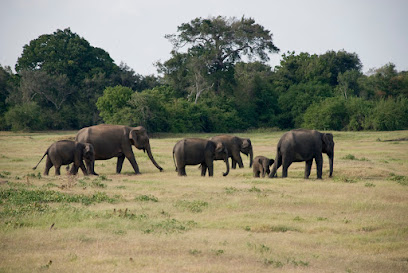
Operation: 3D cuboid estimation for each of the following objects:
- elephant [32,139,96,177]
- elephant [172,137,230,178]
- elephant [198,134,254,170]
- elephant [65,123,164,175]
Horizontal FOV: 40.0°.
[{"bbox_3d":[-8.797,1.537,37.063,4.382,2.457,1.295,0,12,-30],"label":"elephant"},{"bbox_3d":[-0.349,1.327,37.220,4.060,3.050,1.975,0,0,-6],"label":"elephant"},{"bbox_3d":[0.780,1.011,41.341,5.518,3.677,1.677,-2,2,-8],"label":"elephant"},{"bbox_3d":[-6.310,0.721,39.303,6.576,4.045,2.725,0,0,-14],"label":"elephant"}]
